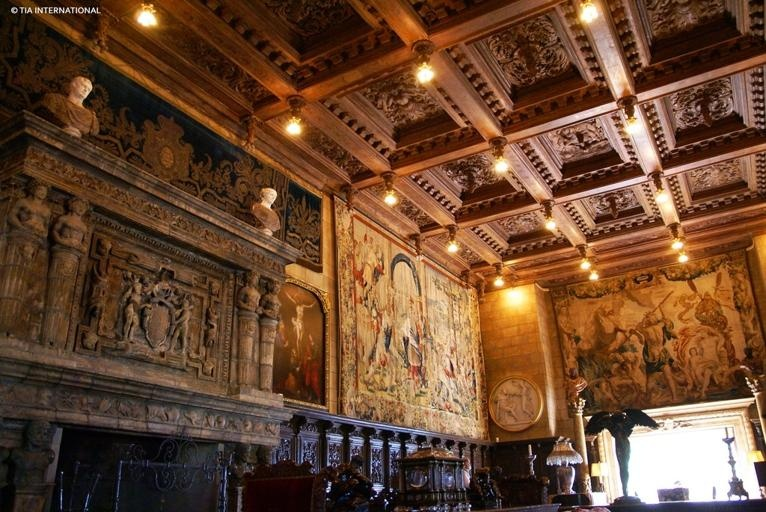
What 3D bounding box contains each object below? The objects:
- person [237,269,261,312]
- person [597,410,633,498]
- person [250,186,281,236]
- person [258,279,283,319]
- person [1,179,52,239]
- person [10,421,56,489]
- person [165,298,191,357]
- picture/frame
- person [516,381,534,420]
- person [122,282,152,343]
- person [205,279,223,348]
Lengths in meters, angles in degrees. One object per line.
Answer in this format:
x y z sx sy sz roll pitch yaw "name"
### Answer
-2.375 0.645 10.280 0.404 0.723 0.285 7 -29 -15 "person"
4.747 3.986 11.207 0.579 1.491 2.643 -12 -30 19 "person"
-2.306 -0.872 11.150 0.371 1.047 0.709 -26 -34 25 "person"
-2.030 0.816 10.569 0.223 0.726 0.478 -24 -36 37 "person"
-4.831 -0.669 7.919 0.515 0.729 0.305 18 -34 -32 "person"
-4.527 2.573 7.412 0.447 0.822 0.281 15 -32 -27 "person"
-3.289 1.142 9.428 0.354 0.969 0.155 22 -36 -36 "person"
-1.690 1.894 11.799 0.192 2.559 2.250 -17 -32 24 "picture/frame"
4.413 4.470 17.591 0.382 1.180 0.368 1 -49 29 "person"
-3.875 0.842 8.926 0.168 1.029 0.407 -22 -35 34 "person"
-2.909 0.992 9.823 0.260 1.205 0.233 9 -30 -18 "person"
